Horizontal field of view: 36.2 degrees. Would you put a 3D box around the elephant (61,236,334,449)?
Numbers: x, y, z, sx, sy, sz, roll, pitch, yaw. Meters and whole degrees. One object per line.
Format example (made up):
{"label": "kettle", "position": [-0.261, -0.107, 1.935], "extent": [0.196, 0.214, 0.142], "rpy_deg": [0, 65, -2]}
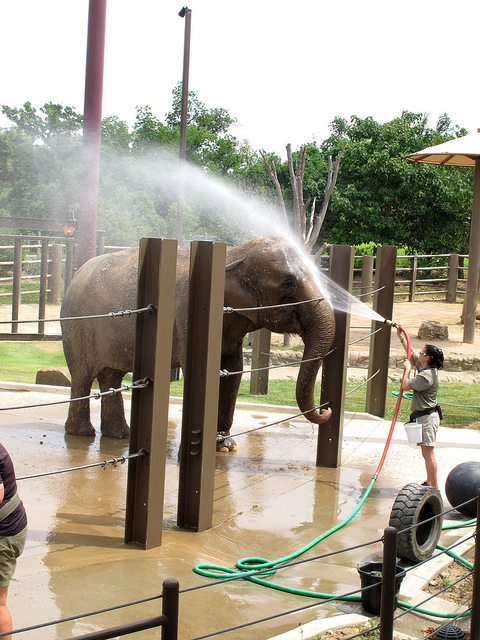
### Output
{"label": "elephant", "position": [-0.406, 0.183, 5.889], "extent": [2.424, 1.737, 1.083], "rpy_deg": [6, 4, 43]}

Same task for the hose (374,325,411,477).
{"label": "hose", "position": [1.018, 0.580, 4.937], "extent": [0.217, 1.090, 0.277], "rpy_deg": [1, 16, 8]}

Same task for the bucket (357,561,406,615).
{"label": "bucket", "position": [0.618, 1.141, 3.138], "extent": [0.199, 0.152, 0.184], "rpy_deg": [-7, 6, 1]}

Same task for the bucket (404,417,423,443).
{"label": "bucket", "position": [1.131, 0.730, 4.816], "extent": [0.136, 0.107, 0.126], "rpy_deg": [-1, -4, 0]}
